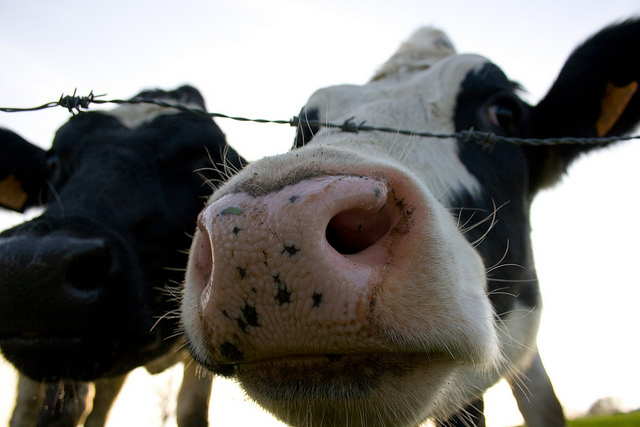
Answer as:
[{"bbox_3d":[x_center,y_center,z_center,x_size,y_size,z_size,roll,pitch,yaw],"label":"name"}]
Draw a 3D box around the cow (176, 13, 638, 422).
[{"bbox_3d":[0.735,-0.089,4.710,2.512,2.538,3.383,-19,9,37],"label":"cow"}]
